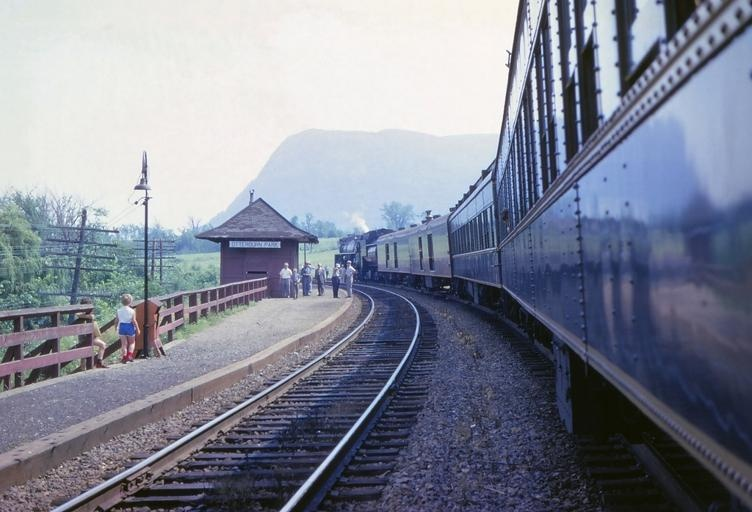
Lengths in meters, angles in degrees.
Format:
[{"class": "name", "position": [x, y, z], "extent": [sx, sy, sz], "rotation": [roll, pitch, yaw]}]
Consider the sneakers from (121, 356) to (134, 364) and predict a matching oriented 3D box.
[{"class": "sneakers", "position": [-4.837, 2.033, 10.765], "extent": [0.090, 0.124, 0.271], "rotation": [0, 1, -4]}]

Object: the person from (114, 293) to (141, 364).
[{"class": "person", "position": [-4.896, 1.427, 10.905], "extent": [0.390, 1.441, 0.857], "rotation": [-7, 1, -25]}]

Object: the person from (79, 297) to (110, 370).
[{"class": "person", "position": [-5.738, 1.581, 11.235], "extent": [0.356, 1.484, 2.784], "rotation": [-7, 1, -26]}]
